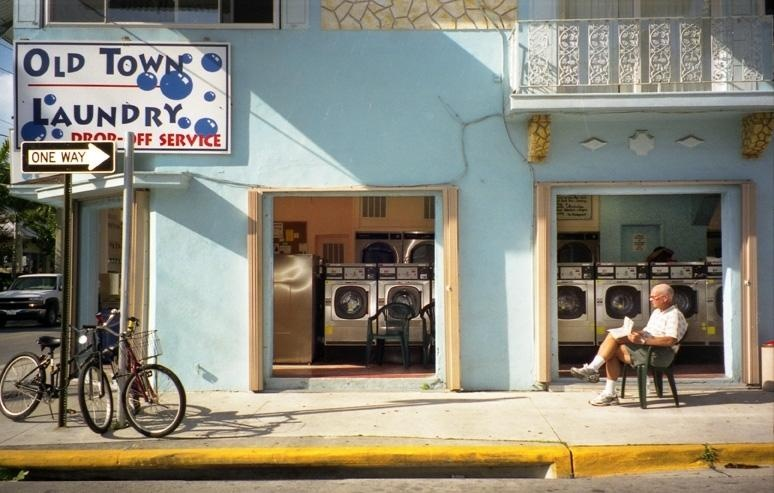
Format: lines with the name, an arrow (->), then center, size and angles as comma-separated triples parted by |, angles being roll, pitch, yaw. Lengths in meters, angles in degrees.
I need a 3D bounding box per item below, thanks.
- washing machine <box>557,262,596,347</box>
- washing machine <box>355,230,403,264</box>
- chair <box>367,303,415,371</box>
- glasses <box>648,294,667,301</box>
washing machine -> 3.784, 1.166, 18.330 | 0.801, 1.712, 0.775 | 0, 0, 3
washing machine -> -0.232, 0.041, 23.238 | 1.492, 1.347, 0.717 | 0, 1, 1
chair -> 0.051, 1.806, 17.870 | 0.876, 1.298, 0.834 | 0, -4, 8
glasses -> 4.558, 0.866, 15.176 | 0.273, 0.134, 0.142 | -4, -8, 34
